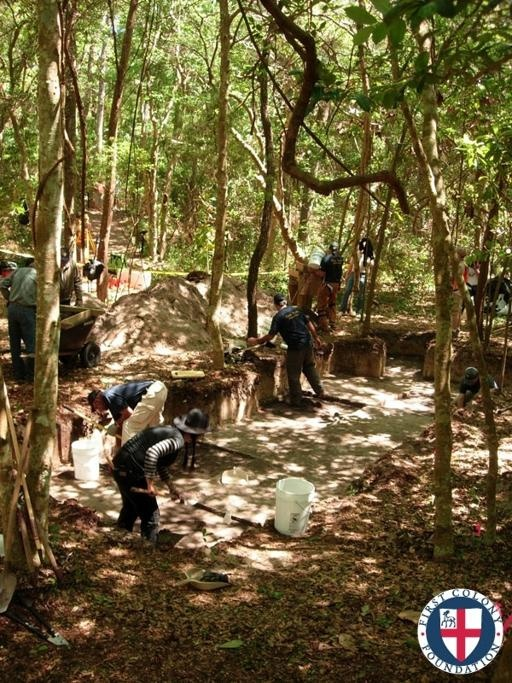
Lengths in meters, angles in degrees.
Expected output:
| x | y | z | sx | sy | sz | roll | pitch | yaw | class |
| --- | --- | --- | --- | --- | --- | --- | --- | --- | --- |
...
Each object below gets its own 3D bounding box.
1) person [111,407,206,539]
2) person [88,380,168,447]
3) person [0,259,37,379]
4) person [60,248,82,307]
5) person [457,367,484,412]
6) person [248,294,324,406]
| x | y | z | sx | sy | sz | roll | pitch | yaw | class |
| --- | --- | --- | --- | --- | --- | --- | --- | --- | --- |
| -0.773 | 1.121 | 4.699 | 0.737 | 1.184 | 0.461 | 4 | 11 | -25 | person |
| -1.141 | 0.597 | 5.593 | 0.763 | 0.732 | 0.489 | -1 | 35 | 10 | person |
| -2.800 | -0.220 | 7.278 | 0.644 | 1.375 | 0.317 | -2 | 7 | 37 | person |
| -2.421 | -0.814 | 7.713 | 0.281 | 0.694 | 0.966 | -8 | 5 | -16 | person |
| 2.927 | 0.625 | 8.214 | 0.277 | 0.551 | 0.742 | -4 | 5 | 17 | person |
| 0.593 | 0.151 | 9.077 | 0.725 | 1.782 | 1.353 | -6 | 5 | 7 | person |
